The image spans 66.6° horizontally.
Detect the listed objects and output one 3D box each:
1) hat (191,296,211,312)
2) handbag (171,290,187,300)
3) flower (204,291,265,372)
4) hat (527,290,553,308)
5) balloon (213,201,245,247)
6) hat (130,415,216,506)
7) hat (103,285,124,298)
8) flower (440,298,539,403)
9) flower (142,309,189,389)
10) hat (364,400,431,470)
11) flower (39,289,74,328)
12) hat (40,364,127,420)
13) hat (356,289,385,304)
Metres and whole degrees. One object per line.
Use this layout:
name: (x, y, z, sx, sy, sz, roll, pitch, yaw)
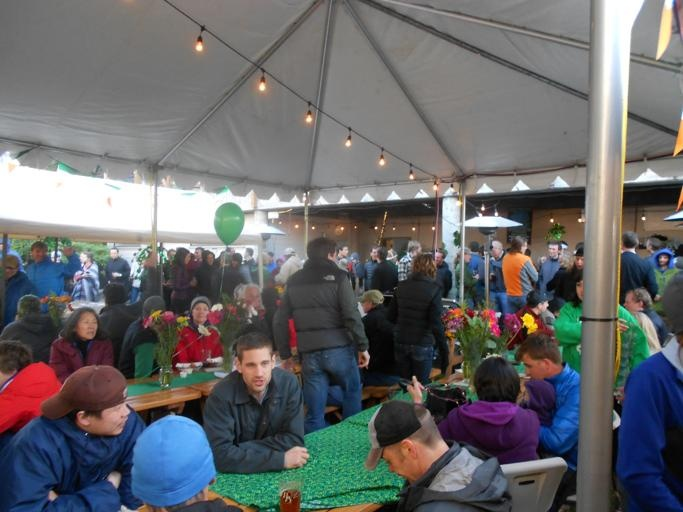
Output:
hat: (-1.330, 0.498, 4.889, 0.135, 0.203, 0.119, 7, 25, -7)
handbag: (-2.425, 0.577, 7.716, 0.127, 0.153, 0.142, 1, 2, 18)
flower: (-0.954, 0.620, 4.995, 0.552, 0.964, 0.616, 0, -16, 6)
hat: (1.915, 0.407, 5.079, 0.201, 0.142, 0.149, -20, 23, -23)
balloon: (-1.466, -0.428, 6.671, 0.390, 0.591, 0.405, -5, 17, -31)
hat: (-0.731, 0.840, 2.230, 0.295, 0.273, 0.344, -3, 13, -11)
hat: (-2.165, 0.339, 4.950, 0.113, 0.158, 0.147, 0, 5, -28)
flower: (1.244, 0.756, 4.418, 0.697, 0.777, 0.793, -8, -12, 41)
flower: (-1.393, 0.731, 4.199, 0.467, 0.805, 0.457, 2, -7, -24)
hat: (0.213, 0.768, 2.390, 0.333, 0.180, 0.215, -40, 15, 8)
flower: (-3.460, 0.631, 6.263, 0.385, 0.479, 0.396, 1, 2, 39)
hat: (-1.320, 0.706, 2.687, 0.368, 0.186, 0.250, 0, 32, -21)
hat: (0.297, 0.464, 5.460, 0.240, 0.217, 0.185, -1, 4, 23)
